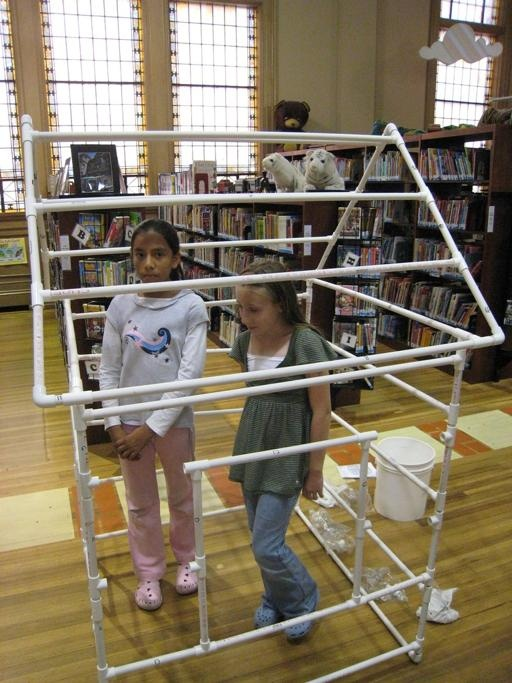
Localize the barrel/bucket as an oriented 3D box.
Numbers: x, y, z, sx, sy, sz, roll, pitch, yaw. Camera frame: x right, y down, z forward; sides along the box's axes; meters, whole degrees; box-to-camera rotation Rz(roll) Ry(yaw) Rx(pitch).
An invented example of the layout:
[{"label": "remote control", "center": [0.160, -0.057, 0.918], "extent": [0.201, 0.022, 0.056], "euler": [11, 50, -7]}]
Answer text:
[{"label": "barrel/bucket", "center": [0.673, 0.663, 2.496], "extent": [0.256, 0.379, 0.435], "euler": [3, 17, 15]}]
